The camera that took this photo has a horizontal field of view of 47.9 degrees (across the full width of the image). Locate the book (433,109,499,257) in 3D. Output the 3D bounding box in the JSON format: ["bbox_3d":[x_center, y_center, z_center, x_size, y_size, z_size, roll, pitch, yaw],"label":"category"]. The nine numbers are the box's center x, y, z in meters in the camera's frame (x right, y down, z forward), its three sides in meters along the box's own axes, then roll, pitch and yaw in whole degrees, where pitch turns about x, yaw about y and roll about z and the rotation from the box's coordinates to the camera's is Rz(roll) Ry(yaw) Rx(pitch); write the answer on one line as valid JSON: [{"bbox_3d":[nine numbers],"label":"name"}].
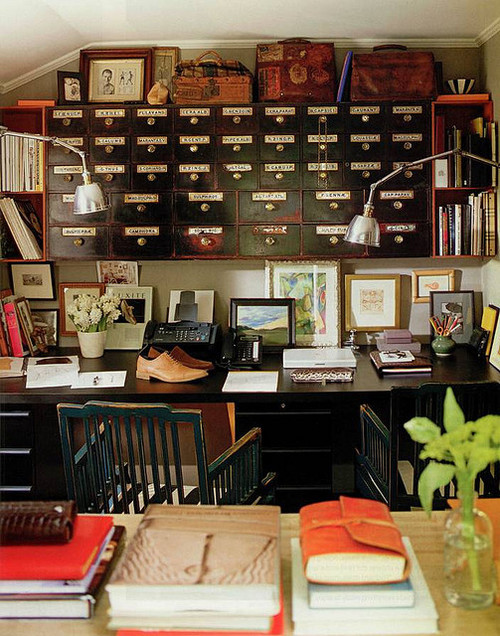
[{"bbox_3d":[1.178,-0.750,3.084,0.342,0.858,0.374,1,11,19],"label":"book"}]

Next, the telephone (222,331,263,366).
[{"bbox_3d":[-0.034,0.177,2.947,0.191,0.161,0.077,1,-17,-4],"label":"telephone"}]

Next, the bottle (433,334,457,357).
[{"bbox_3d":[1.039,0.146,3.008,0.119,0.085,0.113,0,-1,0],"label":"bottle"}]

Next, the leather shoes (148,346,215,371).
[{"bbox_3d":[-0.319,0.201,2.785,0.376,0.122,0.121,5,2,-10],"label":"leather shoes"}]

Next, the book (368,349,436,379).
[{"bbox_3d":[0.740,0.217,2.754,0.259,0.067,0.319,-1,10,4],"label":"book"}]

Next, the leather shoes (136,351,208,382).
[{"bbox_3d":[-0.377,0.221,2.641,0.263,0.090,0.154,1,5,-1],"label":"leather shoes"}]

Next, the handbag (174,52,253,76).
[{"bbox_3d":[-0.192,-1.382,3.065,0.240,0.072,0.221,-9,17,-33],"label":"handbag"}]

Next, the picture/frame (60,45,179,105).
[{"bbox_3d":[-0.737,-1.357,3.159,0.472,0.252,0.031,-1,-5,-1],"label":"picture/frame"}]

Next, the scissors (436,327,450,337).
[{"bbox_3d":[1.051,0.075,3.067,0.046,0.018,0.065,10,17,33],"label":"scissors"}]

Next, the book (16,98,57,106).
[{"bbox_3d":[-1.194,-1.200,3.133,0.135,0.027,0.116,-1,13,-9],"label":"book"}]

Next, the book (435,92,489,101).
[{"bbox_3d":[1.142,-1.179,3.013,0.146,0.026,0.127,0,4,-3],"label":"book"}]
